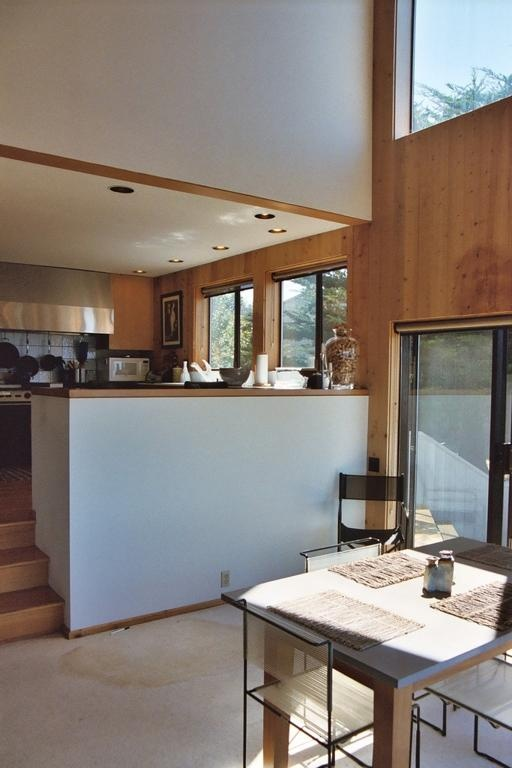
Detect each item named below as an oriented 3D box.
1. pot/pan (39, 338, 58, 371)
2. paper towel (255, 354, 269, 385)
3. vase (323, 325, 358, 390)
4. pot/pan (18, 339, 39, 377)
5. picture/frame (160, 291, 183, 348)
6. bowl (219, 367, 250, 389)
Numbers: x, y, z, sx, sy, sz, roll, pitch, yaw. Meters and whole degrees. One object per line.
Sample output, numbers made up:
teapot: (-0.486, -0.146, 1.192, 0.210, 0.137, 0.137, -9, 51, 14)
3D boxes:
pot/pan: (-2.419, -0.368, 7.002, 0.053, 0.408, 0.223, 1, 2, 41)
paper towel: (0.036, -0.103, 4.310, 0.070, 0.230, 0.077, 0, 2, -9)
vase: (0.641, -0.189, 4.461, 0.263, 0.480, 0.273, -3, -8, 23)
pot/pan: (-2.583, -0.280, 6.820, 0.054, 0.382, 0.213, 4, 4, 37)
picture/frame: (-0.987, -0.749, 6.995, 0.032, 0.656, 0.546, -3, 4, -35)
bowl: (-0.138, -0.047, 4.076, 0.140, 0.106, 0.143, -2, 1, 0)
